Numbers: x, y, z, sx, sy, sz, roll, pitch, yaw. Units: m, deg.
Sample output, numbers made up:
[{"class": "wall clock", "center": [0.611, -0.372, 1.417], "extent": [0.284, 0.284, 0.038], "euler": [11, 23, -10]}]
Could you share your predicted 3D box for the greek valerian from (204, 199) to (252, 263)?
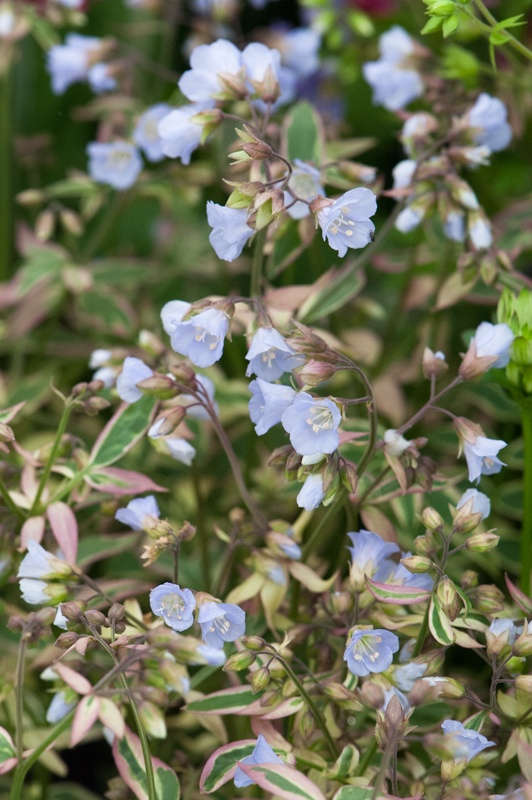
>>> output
[{"class": "greek valerian", "center": [-0.038, -0.168, 0.847], "extent": [0.045, 0.083, 0.044], "euler": [-5, 61, -6]}]

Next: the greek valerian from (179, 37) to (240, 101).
[{"class": "greek valerian", "center": [-0.065, -0.391, 1.012], "extent": [0.074, 0.062, 0.079], "euler": [12, 60, 4]}]
